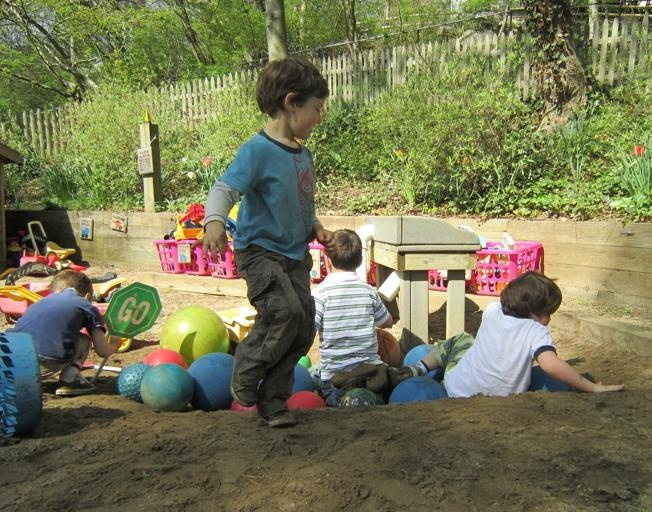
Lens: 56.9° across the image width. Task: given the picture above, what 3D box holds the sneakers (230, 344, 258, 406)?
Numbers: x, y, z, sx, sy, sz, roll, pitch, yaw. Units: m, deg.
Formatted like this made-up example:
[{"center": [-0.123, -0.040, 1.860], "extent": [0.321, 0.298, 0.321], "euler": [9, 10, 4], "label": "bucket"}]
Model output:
[{"center": [-0.532, 0.769, 3.927], "extent": [0.197, 0.469, 0.170], "euler": [-5, 13, -9], "label": "sneakers"}]

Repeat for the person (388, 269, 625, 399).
[{"center": [1.298, 0.620, 4.415], "extent": [1.435, 0.889, 0.962], "euler": [-5, 4, -20], "label": "person"}]

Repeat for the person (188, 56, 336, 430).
[{"center": [-0.350, -0.043, 3.939], "extent": [0.606, 2.419, 0.935], "euler": [2, 14, 22], "label": "person"}]

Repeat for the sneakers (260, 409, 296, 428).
[{"center": [-0.297, 1.037, 3.883], "extent": [0.097, 0.091, 0.198], "euler": [7, -15, -35], "label": "sneakers"}]

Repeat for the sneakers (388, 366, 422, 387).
[{"center": [0.624, 0.926, 4.810], "extent": [0.237, 0.098, 0.149], "euler": [-8, 46, -18], "label": "sneakers"}]

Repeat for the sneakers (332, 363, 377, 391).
[{"center": [0.210, 0.921, 4.764], "extent": [0.251, 0.096, 0.199], "euler": [-17, -2, 13], "label": "sneakers"}]
